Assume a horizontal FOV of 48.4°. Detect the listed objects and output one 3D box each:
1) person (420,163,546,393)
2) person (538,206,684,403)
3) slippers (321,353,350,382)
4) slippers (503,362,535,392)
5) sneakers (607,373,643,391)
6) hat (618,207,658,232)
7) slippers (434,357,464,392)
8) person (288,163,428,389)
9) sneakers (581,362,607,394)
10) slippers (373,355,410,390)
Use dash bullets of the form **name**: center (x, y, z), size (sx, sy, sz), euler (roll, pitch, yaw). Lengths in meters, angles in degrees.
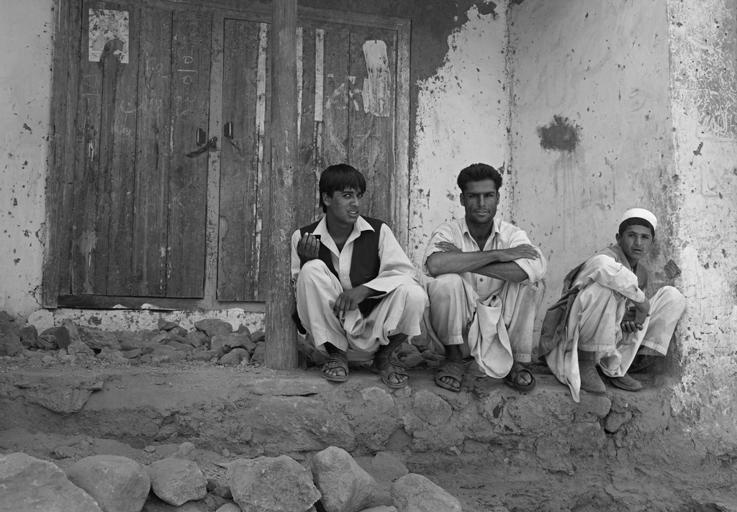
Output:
- **person**: center (0.884, 0.156, 6.351), size (0.919, 1.722, 0.540), euler (4, 5, 3)
- **person**: center (1.960, 0.348, 6.582), size (0.921, 1.470, 0.956), euler (11, -2, -18)
- **slippers**: center (-0.243, 0.834, 6.141), size (0.207, 0.186, 0.231), euler (4, 5, -3)
- **slippers**: center (1.152, 0.918, 6.239), size (0.135, 0.118, 0.259), euler (-10, 2, -16)
- **sneakers**: center (2.022, 0.980, 6.464), size (0.259, 0.135, 0.117), euler (6, 11, 29)
- **hat**: center (2.104, -0.314, 6.401), size (0.197, 0.126, 0.213), euler (7, 5, 4)
- **slippers**: center (0.598, 0.870, 6.285), size (0.144, 0.100, 0.293), euler (10, 31, 4)
- **person**: center (-0.156, 0.115, 6.413), size (0.939, 1.702, 1.114), euler (1, -4, -30)
- **sneakers**: center (1.728, 0.940, 6.310), size (0.208, 0.222, 0.110), euler (5, 6, 13)
- **slippers**: center (0.167, 0.870, 6.229), size (0.193, 0.210, 0.329), euler (2, 6, -20)
